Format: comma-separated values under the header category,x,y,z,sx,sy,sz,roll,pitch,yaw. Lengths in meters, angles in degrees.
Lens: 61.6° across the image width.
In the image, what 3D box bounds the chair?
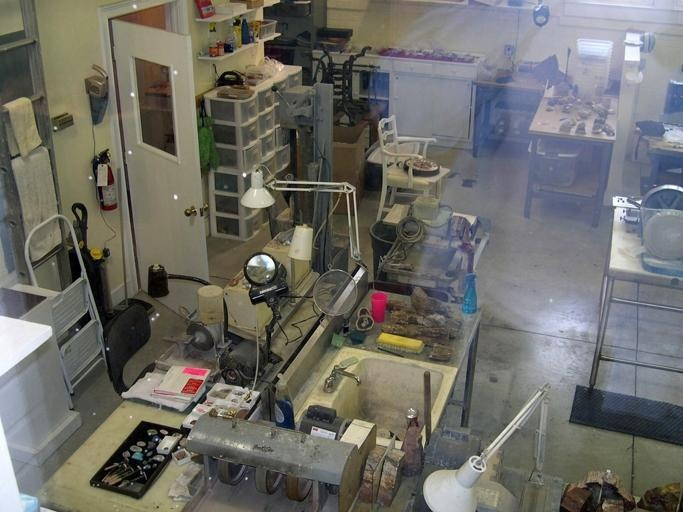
category,x,y,z,sx,sy,sz,roll,pitch,yaw
chair,0.873,-1.137,7.396,1.021,1.577,0.962,8,46,13

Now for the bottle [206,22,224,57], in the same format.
category,x,y,z,sx,sy,sz,roll,pitch,yaw
bottle,-1.498,-2.546,6.772,0.166,0.374,0.365,7,29,12

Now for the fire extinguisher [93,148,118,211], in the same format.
category,x,y,z,sx,sy,sz,roll,pitch,yaw
fire extinguisher,-2.200,-0.668,5.356,0.184,0.585,0.163,-9,26,-22

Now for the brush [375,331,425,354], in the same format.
category,x,y,z,sx,sy,sz,roll,pitch,yaw
brush,0.416,0.618,4.072,0.233,0.059,0.151,12,35,17

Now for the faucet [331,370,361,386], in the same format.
category,x,y,z,sx,sy,sz,roll,pitch,yaw
faucet,0.021,0.817,3.825,0.209,0.083,0.059,9,36,4

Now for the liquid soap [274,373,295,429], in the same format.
category,x,y,z,sx,sy,sz,roll,pitch,yaw
liquid soap,-0.331,0.880,3.391,0.115,0.336,0.273,-1,25,-5

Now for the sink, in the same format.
category,x,y,z,sx,sy,sz,roll,pitch,yaw
sink,0.274,0.899,3.959,0.601,0.302,0.771,12,41,13

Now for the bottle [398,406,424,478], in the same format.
category,x,y,z,sx,sy,sz,roll,pitch,yaw
bottle,0.403,1.024,3.175,0.128,0.404,0.149,5,24,7

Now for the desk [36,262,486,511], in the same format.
category,x,y,z,sx,sy,sz,roll,pitch,yaw
desk,-0.346,0.961,3.627,1.073,1.016,2.015,12,29,26

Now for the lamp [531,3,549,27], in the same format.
category,x,y,z,sx,sy,sz,roll,pitch,yaw
lamp,2.851,-3.453,8.231,0.269,0.429,0.209,1,22,12

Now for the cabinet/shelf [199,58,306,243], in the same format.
category,x,y,z,sx,sy,sz,roll,pitch,yaw
cabinet/shelf,-1.033,-1.106,6.295,0.587,1.753,1.887,6,20,12

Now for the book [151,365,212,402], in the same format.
category,x,y,z,sx,sy,sz,roll,pitch,yaw
book,-1.092,0.889,3.967,0.225,0.061,0.238,7,31,8
